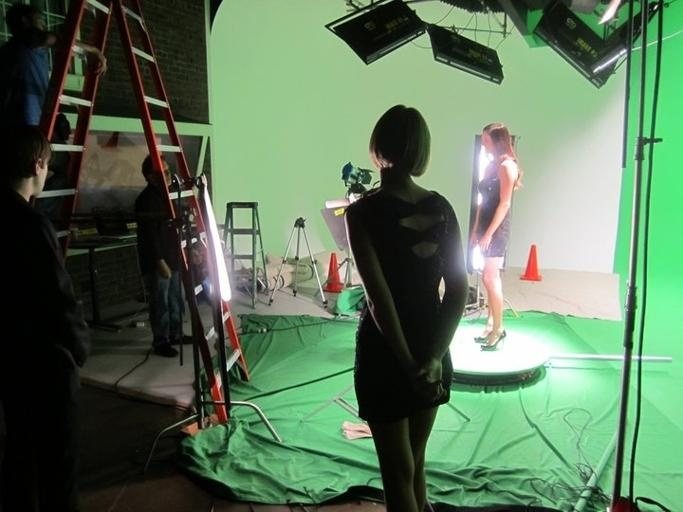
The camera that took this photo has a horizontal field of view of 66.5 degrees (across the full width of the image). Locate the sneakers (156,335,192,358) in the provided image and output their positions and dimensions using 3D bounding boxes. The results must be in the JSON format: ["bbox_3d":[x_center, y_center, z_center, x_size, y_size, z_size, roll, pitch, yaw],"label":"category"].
[{"bbox_3d":[-1.636,0.877,5.059,0.259,0.112,0.336,-3,8,18],"label":"sneakers"}]

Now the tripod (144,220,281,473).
[{"bbox_3d":[-1.055,0.868,4.167,0.907,1.200,0.813,-7,15,-23],"label":"tripod"}]

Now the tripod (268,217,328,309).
[{"bbox_3d":[-0.715,0.110,8.234,1.040,1.634,0.946,0,16,-17],"label":"tripod"}]

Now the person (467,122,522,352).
[{"bbox_3d":[1.502,-0.191,5.052,0.384,2.155,0.407,0,5,13],"label":"person"}]

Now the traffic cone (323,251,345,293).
[{"bbox_3d":[-0.077,0.249,7.642,0.421,0.560,0.446,0,6,12],"label":"traffic cone"}]

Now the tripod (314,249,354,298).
[{"bbox_3d":[-0.147,0.258,7.464,0.468,0.610,0.512,-3,6,-24],"label":"tripod"}]
